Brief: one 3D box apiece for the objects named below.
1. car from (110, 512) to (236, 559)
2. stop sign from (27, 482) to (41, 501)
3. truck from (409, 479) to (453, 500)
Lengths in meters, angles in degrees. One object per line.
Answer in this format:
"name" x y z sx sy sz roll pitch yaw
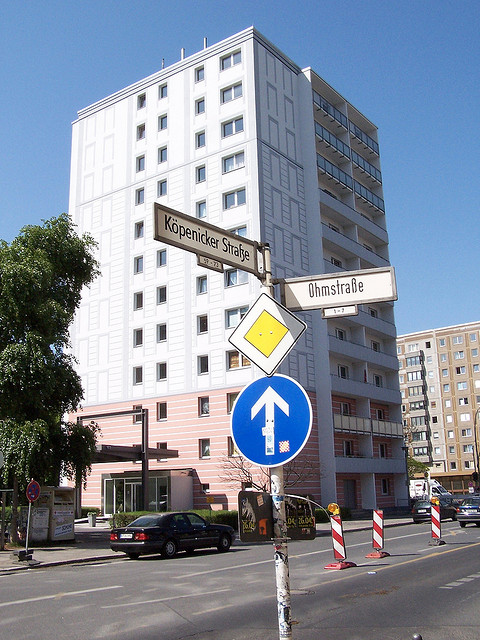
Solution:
"car" -1.928 6.561 19.225 1.523 1.276 4.029 -15 -21 38
"stop sign" -6.265 5.194 18.990 0.257 0.518 0.673 1 -17 -10
"truck" 17.145 15.467 57.605 2.854 1.896 11.772 -6 -17 14
